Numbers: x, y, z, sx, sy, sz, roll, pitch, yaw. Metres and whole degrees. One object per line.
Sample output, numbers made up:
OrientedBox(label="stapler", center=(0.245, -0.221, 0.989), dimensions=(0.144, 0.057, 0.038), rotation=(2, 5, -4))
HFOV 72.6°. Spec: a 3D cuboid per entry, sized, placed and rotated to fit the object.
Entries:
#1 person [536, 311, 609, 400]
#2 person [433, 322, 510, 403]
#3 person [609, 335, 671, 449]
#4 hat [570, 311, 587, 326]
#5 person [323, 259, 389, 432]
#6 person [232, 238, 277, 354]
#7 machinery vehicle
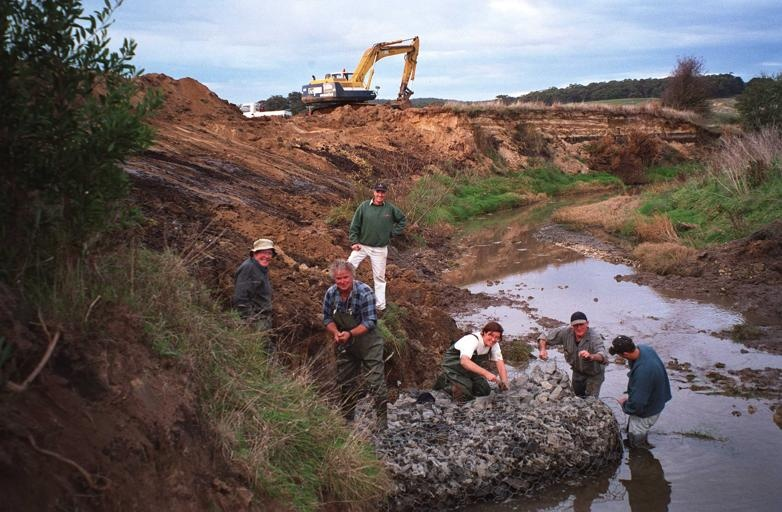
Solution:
OrientedBox(label="person", center=(3.103, 1.760, 9.089), dimensions=(1.028, 1.521, 1.105), rotation=(10, 24, 36))
OrientedBox(label="person", center=(1.348, 1.682, 8.563), dimensions=(0.872, 1.303, 1.248), rotation=(5, 1, -38))
OrientedBox(label="person", center=(3.771, 2.154, 8.132), dimensions=(0.888, 1.782, 0.805), rotation=(12, 22, 43))
OrientedBox(label="hat", center=(3.016, 0.991, 8.456), dimensions=(0.288, 0.238, 0.285), rotation=(-4, -5, 6))
OrientedBox(label="person", center=(-0.475, 1.263, 7.676), dimensions=(1.107, 2.340, 0.706), rotation=(6, 10, 0))
OrientedBox(label="person", center=(-1.982, 0.619, 7.818), dimensions=(0.634, 1.680, 1.272), rotation=(4, 11, -13))
OrientedBox(label="machinery vehicle", center=(-1.417, -10.725, 32.233), dimensions=(7.329, 4.275, 2.924), rotation=(-14, 30, -32))
